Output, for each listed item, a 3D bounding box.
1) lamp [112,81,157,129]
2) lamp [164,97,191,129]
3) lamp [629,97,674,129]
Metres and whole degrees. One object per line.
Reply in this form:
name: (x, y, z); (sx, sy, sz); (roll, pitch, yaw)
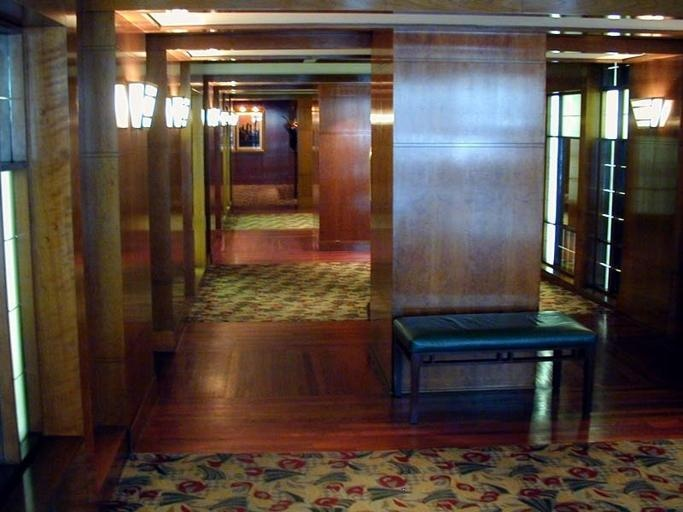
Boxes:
lamp: (-1.334, -0.976, 3.814); (0.166, 0.297, 0.448); (-1, 12, -4)
lamp: (-1.568, -1.379, 5.584); (0.228, 0.292, 0.287); (-4, 13, -15)
lamp: (2.572, -1.168, 4.824); (0.297, 0.235, 0.068); (12, 21, 26)
